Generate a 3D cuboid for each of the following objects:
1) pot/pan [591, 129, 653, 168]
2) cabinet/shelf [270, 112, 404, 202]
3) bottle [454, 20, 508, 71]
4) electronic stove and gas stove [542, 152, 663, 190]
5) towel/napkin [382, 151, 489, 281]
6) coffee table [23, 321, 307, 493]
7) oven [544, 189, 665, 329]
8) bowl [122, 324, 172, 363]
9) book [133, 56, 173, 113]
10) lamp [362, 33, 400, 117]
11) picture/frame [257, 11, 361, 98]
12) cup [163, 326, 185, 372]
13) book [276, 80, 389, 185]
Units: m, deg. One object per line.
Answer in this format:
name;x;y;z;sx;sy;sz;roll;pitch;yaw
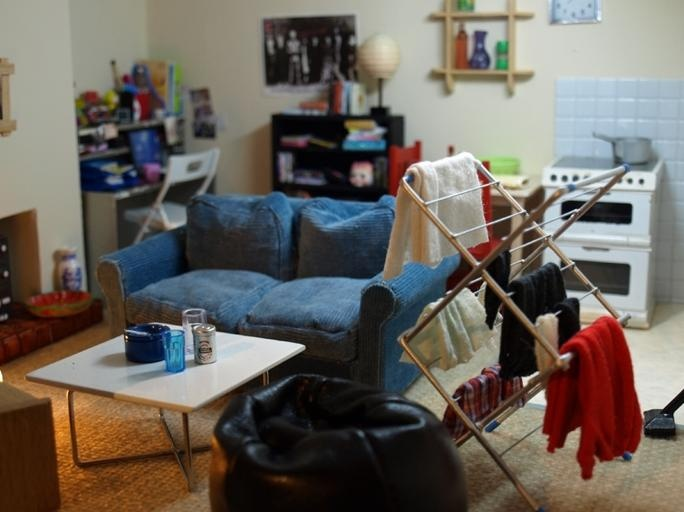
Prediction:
pot/pan;2.081;-0.777;4.500;0.518;0.244;0.291;2;11;24
cabinet/shelf;-0.028;-0.842;5.156;0.931;0.942;0.314;4;9;17
bottle;1.146;-1.726;4.948;0.379;0.346;0.118;3;15;14
electronic stove and gas stove;1.956;-0.621;4.536;0.737;0.170;0.782;7;19;31
towel/napkin;0.463;-0.166;2.926;0.328;0.681;0.788;12;23;36
coffee table;-0.829;0.532;2.723;0.854;0.478;0.889;7;17;25
oven;1.949;0.102;4.704;0.848;1.065;0.871;10;-21;7
bowl;-0.931;0.418;2.891;0.197;0.130;0.198;1;10;0
book;-1.660;-1.540;5.556;0.429;0.446;0.107;0;-2;-3
lamp;0.319;-1.561;5.153;0.346;0.626;0.305;-1;15;5
picture/frame;-0.258;-1.821;5.391;0.794;0.622;0.037;4;14;20
cup;-0.755;0.425;2.733;0.098;0.183;0.111;-8;16;-18
book;-0.057;-1.071;5.278;0.846;0.879;0.300;4;8;22
